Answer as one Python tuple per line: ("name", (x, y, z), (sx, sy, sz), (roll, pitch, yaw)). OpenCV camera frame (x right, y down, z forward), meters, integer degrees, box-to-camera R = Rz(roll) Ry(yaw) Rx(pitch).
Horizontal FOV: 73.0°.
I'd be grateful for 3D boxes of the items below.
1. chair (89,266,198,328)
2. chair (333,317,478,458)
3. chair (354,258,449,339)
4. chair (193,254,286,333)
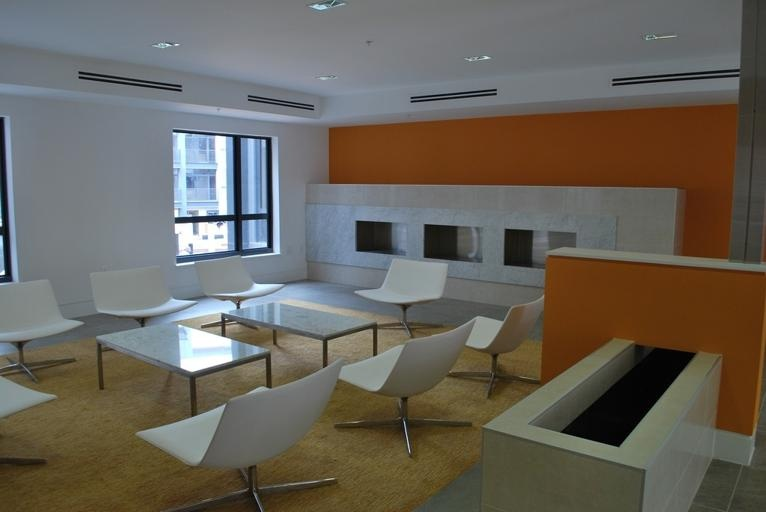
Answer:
("chair", (-3.175, 0.479, 6.695), (0.954, 0.873, 1.055), (-1, 2, 43))
("chair", (0.176, 1.021, 4.939), (1.189, 1.175, 1.130), (8, 11, 42))
("chair", (0.372, 0.382, 7.470), (1.279, 1.115, 1.082), (7, 10, 38))
("chair", (-2.158, 0.468, 7.674), (1.093, 1.083, 1.161), (5, 8, 40))
